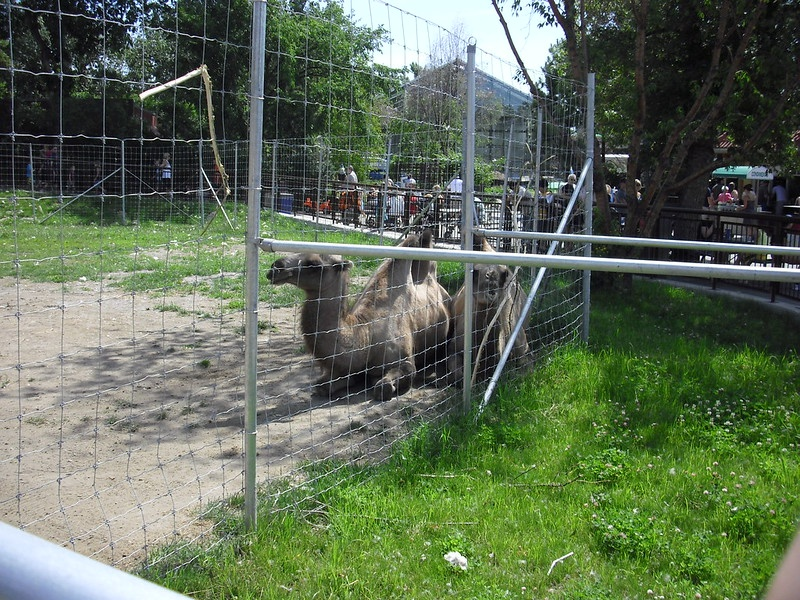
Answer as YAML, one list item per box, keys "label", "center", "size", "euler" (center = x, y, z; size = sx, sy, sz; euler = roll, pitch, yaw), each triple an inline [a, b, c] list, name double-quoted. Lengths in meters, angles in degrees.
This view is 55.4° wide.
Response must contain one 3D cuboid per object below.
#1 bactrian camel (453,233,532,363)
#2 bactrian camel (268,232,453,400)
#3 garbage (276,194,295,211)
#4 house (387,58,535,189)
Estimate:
- label: "bactrian camel"
  center: [0.992, 0.142, 9.283]
  size: [0.767, 1.693, 2.438]
  euler: [-5, -4, 3]
- label: "bactrian camel"
  center: [-0.219, 0.209, 8.712]
  size: [0.920, 1.856, 3.009]
  euler: [-4, 4, 37]
- label: "garbage"
  center: [-1.423, -1.215, 9.468]
  size: [0.134, 0.197, 0.241]
  euler: [1, 9, 6]
- label: "house"
  center: [0.674, -1.833, 8.150]
  size: [1.156, 1.303, 3.283]
  euler: [7, 12, 18]
